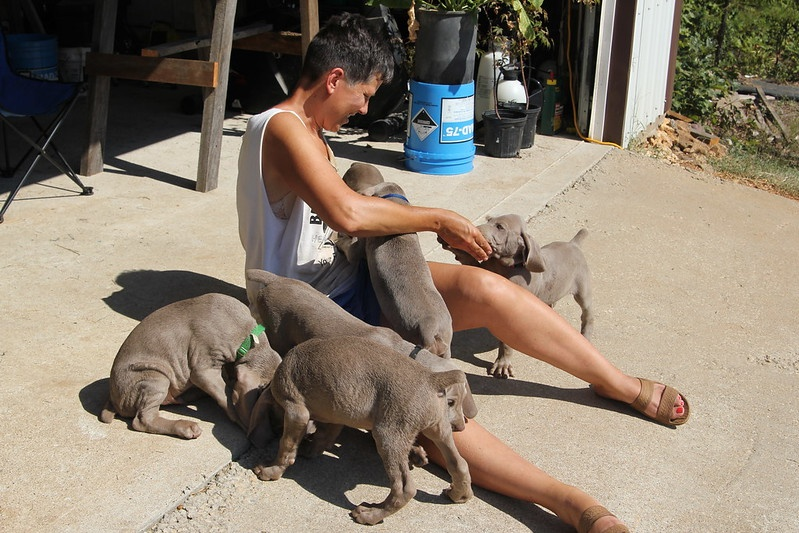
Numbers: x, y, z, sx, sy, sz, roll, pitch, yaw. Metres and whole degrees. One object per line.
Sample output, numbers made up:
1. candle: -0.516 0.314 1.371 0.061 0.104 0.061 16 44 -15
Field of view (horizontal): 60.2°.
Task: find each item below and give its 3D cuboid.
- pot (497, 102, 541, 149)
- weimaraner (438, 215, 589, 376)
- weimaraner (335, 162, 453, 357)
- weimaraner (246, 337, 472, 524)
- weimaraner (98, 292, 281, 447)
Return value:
1. pot: 1.373 -1.614 7.858 0.453 0.474 0.416 -9 32 6
2. weimaraner: 0.852 0.125 4.503 0.542 1.006 1.547 14 15 40
3. weimaraner: 0.021 -0.238 3.957 0.372 0.602 1.525 -11 69 -18
4. weimaraner: -0.158 0.816 3.415 1.088 0.850 0.400 7 26 9
5. weimaraner: -1.119 0.578 3.830 1.027 0.698 0.640 -6 13 -31
